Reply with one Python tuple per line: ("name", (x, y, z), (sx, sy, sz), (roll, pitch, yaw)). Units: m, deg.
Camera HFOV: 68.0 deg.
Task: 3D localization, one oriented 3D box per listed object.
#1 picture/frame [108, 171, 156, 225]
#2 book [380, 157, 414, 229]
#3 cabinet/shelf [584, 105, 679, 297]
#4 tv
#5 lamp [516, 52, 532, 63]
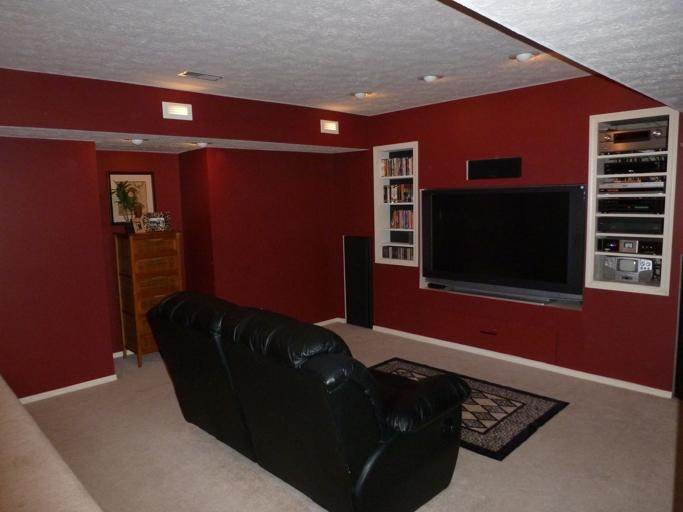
("picture/frame", (-2.544, -0.692, 6.074), (0.055, 0.720, 0.652), (4, 7, 36))
("book", (0.767, -0.824, 6.562), (0.282, 0.937, 0.528), (-10, 12, -32))
("cabinet/shelf", (2.756, -0.514, 4.861), (0.740, 1.711, 0.429), (3, 12, 31))
("tv", (1.827, -0.149, 5.561), (1.412, 0.976, 0.145), (4, 10, 43))
("lamp", (1.498, -1.641, 4.174), (0.120, 0.043, 0.151), (0, 10, 20))
